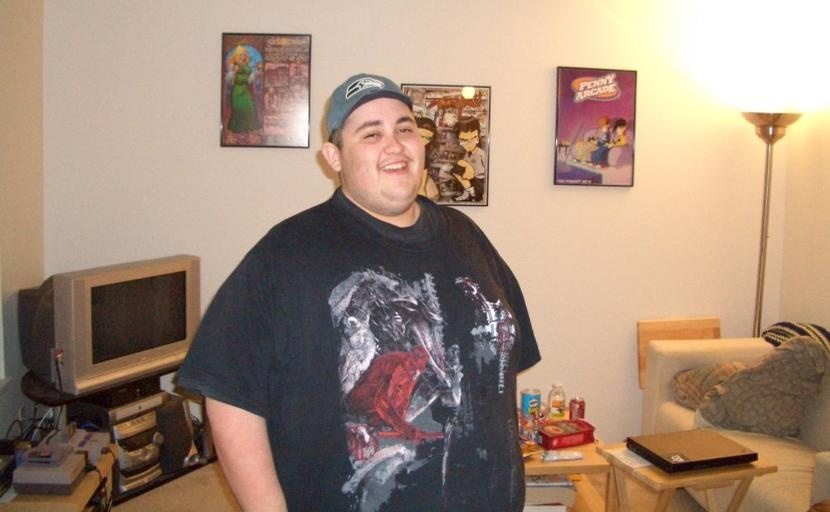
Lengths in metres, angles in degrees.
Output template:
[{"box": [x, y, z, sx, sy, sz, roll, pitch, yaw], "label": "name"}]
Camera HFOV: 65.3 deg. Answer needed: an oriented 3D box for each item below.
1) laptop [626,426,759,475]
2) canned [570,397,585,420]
[{"box": [1.537, 1.089, 3.678, 0.394, 0.062, 0.270, -1, 12, -16], "label": "laptop"}, {"box": [1.092, 1.037, 4.421, 0.098, 0.133, 0.236, 3, 6, 11], "label": "canned"}]
